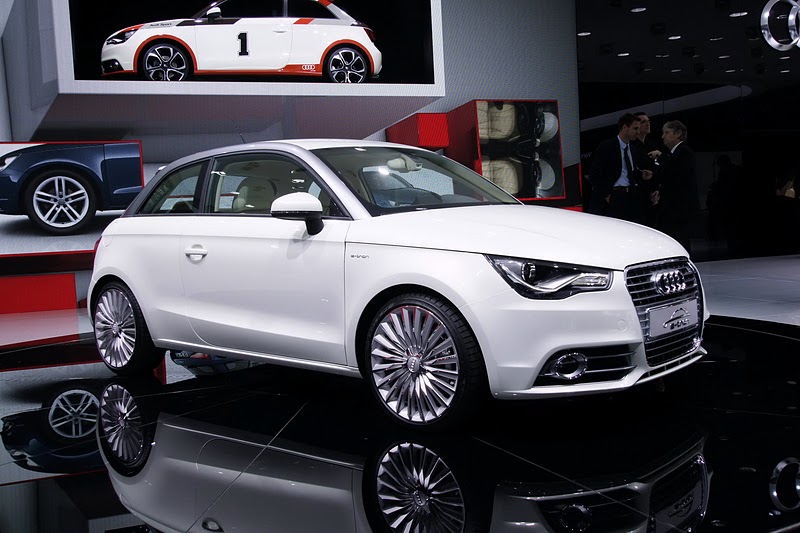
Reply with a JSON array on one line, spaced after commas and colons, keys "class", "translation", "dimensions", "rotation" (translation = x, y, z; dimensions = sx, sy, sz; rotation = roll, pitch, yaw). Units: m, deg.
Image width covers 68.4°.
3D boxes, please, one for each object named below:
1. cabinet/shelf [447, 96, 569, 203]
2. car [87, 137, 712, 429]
[{"class": "cabinet/shelf", "translation": [2.164, -2.172, 10.654], "dimensions": [2.181, 1.647, 0.818], "rotation": [-1, 9, -12]}, {"class": "car", "translation": [-0.290, 0.111, 3.920], "dimensions": [3.717, 1.338, 1.863], "rotation": [-2, -2, 36]}]
